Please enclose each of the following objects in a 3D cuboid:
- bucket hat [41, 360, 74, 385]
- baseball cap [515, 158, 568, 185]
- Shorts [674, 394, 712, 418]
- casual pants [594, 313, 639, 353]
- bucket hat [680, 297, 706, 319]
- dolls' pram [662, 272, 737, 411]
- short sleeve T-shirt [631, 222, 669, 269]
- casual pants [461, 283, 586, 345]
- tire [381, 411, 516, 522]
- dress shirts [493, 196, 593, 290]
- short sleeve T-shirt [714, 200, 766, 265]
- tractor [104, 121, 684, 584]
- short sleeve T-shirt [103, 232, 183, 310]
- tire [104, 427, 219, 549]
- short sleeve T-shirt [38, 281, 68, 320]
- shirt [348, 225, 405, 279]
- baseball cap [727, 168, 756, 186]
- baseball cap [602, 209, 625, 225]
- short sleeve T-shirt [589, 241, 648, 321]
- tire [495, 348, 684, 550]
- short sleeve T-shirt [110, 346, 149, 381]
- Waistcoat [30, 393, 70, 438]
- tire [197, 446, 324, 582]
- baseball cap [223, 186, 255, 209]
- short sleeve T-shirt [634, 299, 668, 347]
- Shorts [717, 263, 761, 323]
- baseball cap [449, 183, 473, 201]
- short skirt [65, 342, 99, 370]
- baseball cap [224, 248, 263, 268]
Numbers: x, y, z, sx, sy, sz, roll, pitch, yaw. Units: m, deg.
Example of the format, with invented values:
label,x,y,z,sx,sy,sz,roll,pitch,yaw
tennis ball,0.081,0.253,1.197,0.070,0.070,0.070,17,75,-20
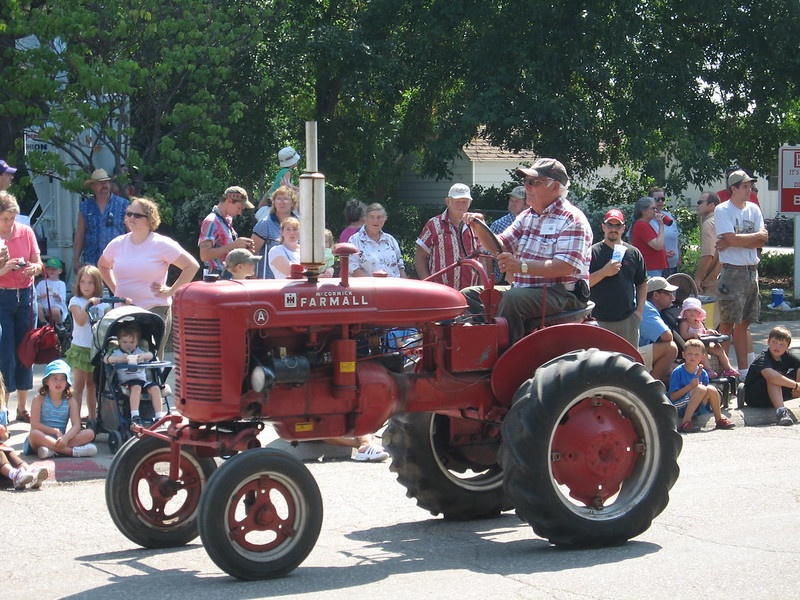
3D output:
label,x,y,z,sx,sy,sz,roll,pitch,yaw
bucket hat,-3.537,0.751,13.504,0.234,0.187,0.312,1,1,-14
baseball cap,1.297,-1.140,11.541,0.396,0.186,0.250,8,-1,-10
Shorts,3.257,1.174,14.464,0.435,0.145,0.249,-26,-31,24
casual pants,2.165,0.322,12.969,0.423,0.541,0.229,0,0,3
bucket hat,3.505,0.102,15.550,0.215,0.156,0.287,2,-5,2
dolls' pram,3.525,0.612,15.381,1.067,1.404,1.007,-5,21,4
short sleeve T-shirt,3.192,-0.690,16.596,0.343,0.607,0.564,-13,11,1
casual pants,1.131,0.062,11.379,0.775,0.331,0.584,-17,0,-9
tire,0.485,1.451,11.520,1.030,1.049,0.323,-3,1,-28
dress shirts,1.209,-0.509,11.633,0.730,0.811,1.186,-3,12,-35
short sleeve T-shirt,4.317,-0.848,16.411,0.647,0.738,0.367,-3,4,-16
tractor,-0.029,0.311,11.341,4.408,3.536,2.956,-1,1,-29
short sleeve T-shirt,-2.692,-0.283,13.598,0.887,0.700,0.461,1,-4,14
tire,-1.938,1.574,10.756,0.954,0.938,0.360,6,2,-29
short sleeve T-shirt,-4.782,0.010,17.819,0.496,0.579,0.359,4,13,2
shirt,-0.257,-0.441,14.473,0.730,0.679,0.390,-3,-4,-32
baseball cap,4.260,-1.510,16.178,0.280,0.140,0.198,-12,9,11
baseball cap,2.458,-0.958,14.803,0.205,0.153,0.286,3,0,5
short sleeve T-shirt,2.443,-0.195,14.601,0.898,0.880,0.459,1,1,-17
tire,1.636,1.263,11.053,1.665,1.627,0.491,-6,4,-26
short sleeve T-shirt,-2.705,0.666,13.096,0.359,0.318,0.277,-9,-7,37
Waistcoat,-3.511,1.216,13.392,0.430,0.569,0.328,11,-13,-33
tire,-1.119,1.716,10.296,0.981,0.921,0.286,3,-12,-29
baseball cap,-1.784,-1.168,14.841,0.369,0.210,0.227,8,8,-19
short sleeve T-shirt,2.925,0.292,15.128,0.250,0.371,0.487,-8,10,-13
Shorts,4.274,-0.083,16.358,0.487,0.800,0.700,-8,-9,40
baseball cap,0.672,-1.186,14.368,0.184,0.137,0.257,4,6,-12
short skirt,-3.426,0.620,13.917,0.304,0.220,0.326,3,-6,-8
baseball cap,-1.512,-0.406,12.575,0.288,0.118,0.185,-7,7,-16
